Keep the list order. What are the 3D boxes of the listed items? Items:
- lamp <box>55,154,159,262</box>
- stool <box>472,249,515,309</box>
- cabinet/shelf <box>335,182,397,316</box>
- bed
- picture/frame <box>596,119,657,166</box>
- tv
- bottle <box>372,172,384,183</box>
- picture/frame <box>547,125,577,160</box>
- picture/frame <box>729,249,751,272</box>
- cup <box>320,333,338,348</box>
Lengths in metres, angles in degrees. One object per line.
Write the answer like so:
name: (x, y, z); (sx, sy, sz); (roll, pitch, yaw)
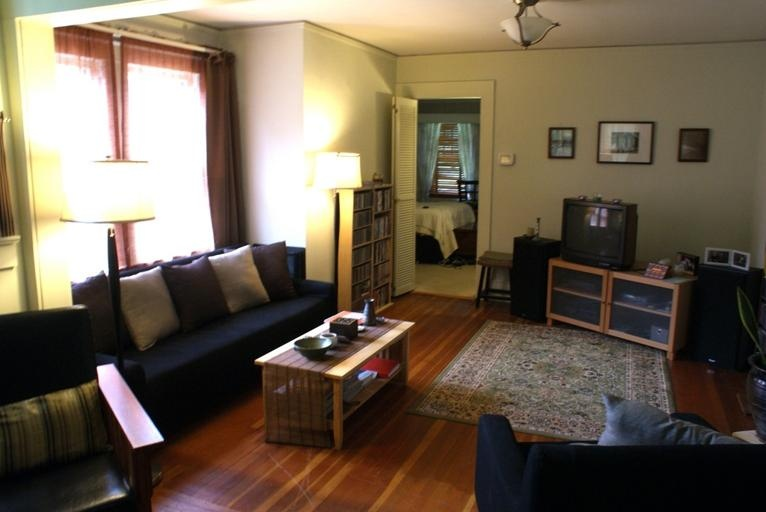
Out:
lamp: (-1.861, -0.411, 3.762); (0.495, 0.377, 0.484); (-3, 6, -16)
stool: (1.289, 0.272, 6.679); (0.581, 0.849, 0.626); (3, 3, 18)
cabinet/shelf: (-0.217, -0.080, 6.095); (0.390, 1.486, 1.334); (5, 13, 23)
bed: (0.968, -0.448, 8.998); (0.572, 0.717, 1.095); (4, 14, 26)
picture/frame: (2.752, -1.288, 6.236); (0.544, 0.447, 0.056); (3, 11, 24)
tv: (2.198, -0.210, 5.703); (0.384, 0.670, 0.693); (-8, 11, -41)
bottle: (-0.063, -0.925, 6.582); (0.147, 0.152, 0.157); (2, 8, 11)
picture/frame: (2.083, -1.337, 6.468); (0.394, 0.465, 0.036); (2, 7, 22)
picture/frame: (3.245, 0.048, 5.081); (0.107, 0.192, 0.193); (-7, 10, -43)
cup: (-0.401, 0.650, 4.293); (0.095, 0.059, 0.094); (1, 3, 0)
